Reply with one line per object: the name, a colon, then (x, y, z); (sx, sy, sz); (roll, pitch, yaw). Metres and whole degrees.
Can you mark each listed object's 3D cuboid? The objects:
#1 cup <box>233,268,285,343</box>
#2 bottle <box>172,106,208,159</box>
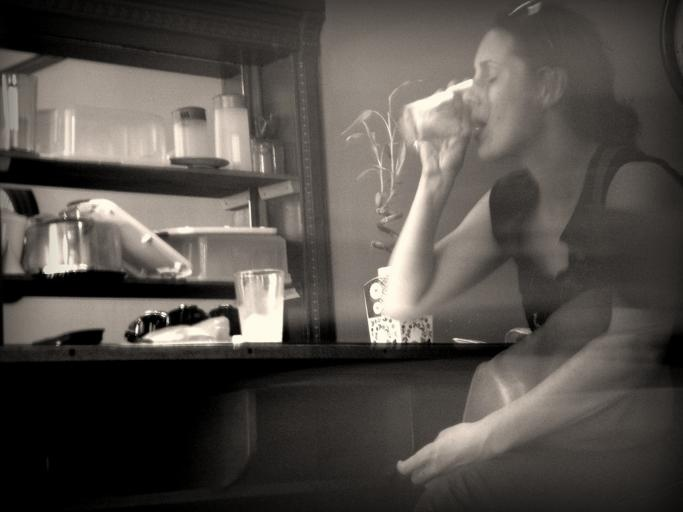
cup: (-0.190, 0.119, 1.617); (0.154, 0.237, 0.148); (-1, -7, 0)
bottle: (-0.405, -0.332, 1.815); (0.096, 0.138, 0.067); (-2, 0, -10)
